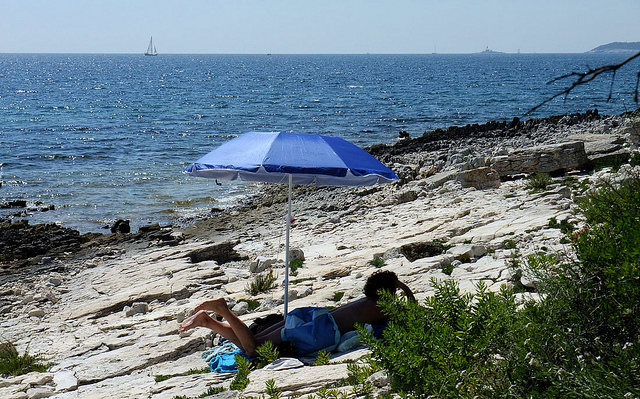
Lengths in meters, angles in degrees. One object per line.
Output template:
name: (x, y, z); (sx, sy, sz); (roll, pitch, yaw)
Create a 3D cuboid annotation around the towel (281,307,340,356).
towel: (-0.246, 3.467, 17.842); (1.496, 1.156, 0.505); (-6, 8, -5)

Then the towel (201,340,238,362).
towel: (-2.710, 4.091, 18.439); (0.816, 0.245, 0.597); (-42, 26, -23)

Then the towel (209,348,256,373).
towel: (-2.554, 4.287, 17.905); (0.731, 0.401, 0.793); (-6, 8, -8)
